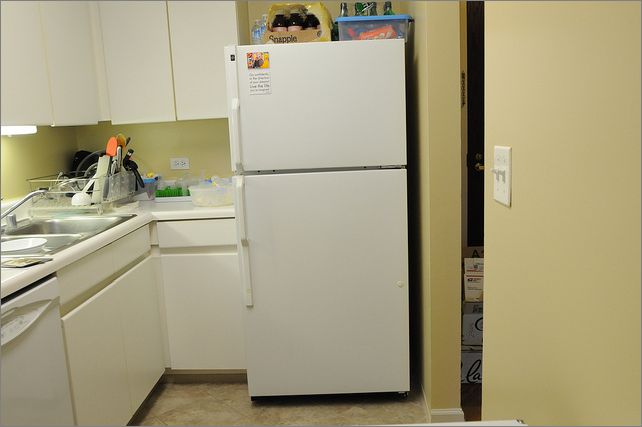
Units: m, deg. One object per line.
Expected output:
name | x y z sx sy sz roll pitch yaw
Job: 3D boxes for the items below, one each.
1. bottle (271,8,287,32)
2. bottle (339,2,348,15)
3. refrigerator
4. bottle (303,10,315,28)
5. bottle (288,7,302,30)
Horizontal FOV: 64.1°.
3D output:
bottle | -0.219 -1.019 2.702 0.086 0.106 0.061 -9 16 -19
bottle | 0.119 -1.051 2.646 0.034 0.068 0.078 -5 15 -4
refrigerator | -0.004 -0.012 3.041 0.888 1.974 0.914 -2 16 3
bottle | -0.054 -1.024 2.702 0.081 0.087 0.068 -2 11 -10
bottle | -0.137 -1.018 2.690 0.075 0.112 0.079 -4 15 1
